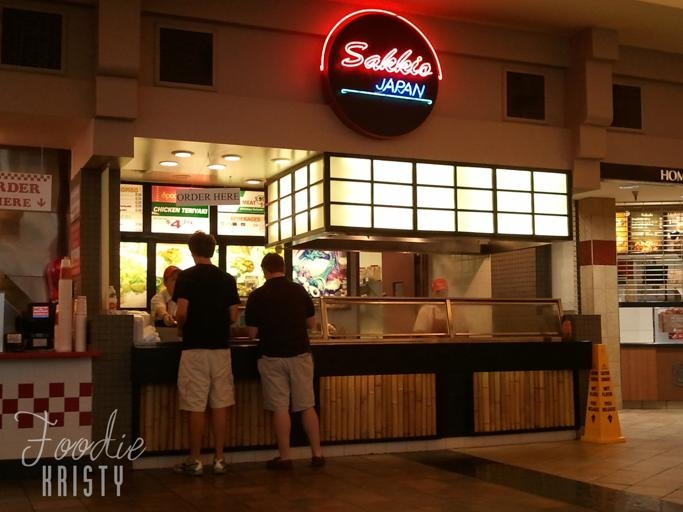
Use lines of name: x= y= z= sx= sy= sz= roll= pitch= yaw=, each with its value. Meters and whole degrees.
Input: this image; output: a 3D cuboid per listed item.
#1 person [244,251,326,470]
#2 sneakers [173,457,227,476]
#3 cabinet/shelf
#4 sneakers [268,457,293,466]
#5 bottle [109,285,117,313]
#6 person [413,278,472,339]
person: x=-0.571 y=1.053 z=7.199 sx=0.785 sy=2.163 sz=0.298 roll=0 pitch=-4 yaw=-8
sneakers: x=-1.366 y=2.043 z=6.964 sx=0.506 sy=0.204 sz=0.187 roll=2 pitch=-6 yaw=-7
cabinet/shelf: x=1.181 y=0.748 z=8.367 sx=3.134 sy=0.564 sz=0.248 roll=0 pitch=-3 yaw=-20
sneakers: x=-0.619 y=2.089 z=7.207 sx=0.262 sy=0.106 sz=0.098 roll=0 pitch=-4 yaw=29
bottle: x=-2.509 y=0.466 z=7.821 sx=0.091 sy=0.289 sz=0.360 roll=0 pitch=-3 yaw=-18
person: x=1.295 y=0.671 z=8.974 sx=0.552 sy=0.930 sz=0.341 roll=0 pitch=8 yaw=5
